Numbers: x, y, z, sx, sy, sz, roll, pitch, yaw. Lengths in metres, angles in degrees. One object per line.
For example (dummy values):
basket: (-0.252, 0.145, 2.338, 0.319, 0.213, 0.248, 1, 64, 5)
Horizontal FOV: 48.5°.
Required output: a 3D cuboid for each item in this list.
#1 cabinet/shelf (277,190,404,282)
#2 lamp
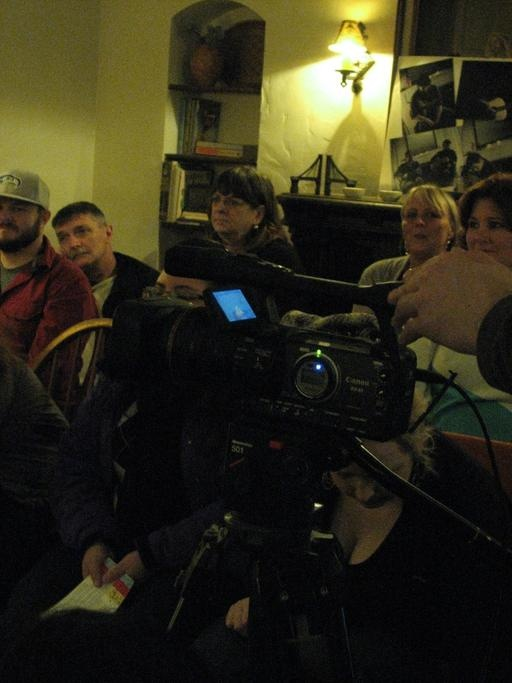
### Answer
cabinet/shelf: (0.347, -0.394, 1.928, 0.404, 0.358, 0.264, 11, 52, 23)
lamp: (0.354, -1.025, 2.064, 0.190, 0.244, 0.074, -8, 17, -34)
